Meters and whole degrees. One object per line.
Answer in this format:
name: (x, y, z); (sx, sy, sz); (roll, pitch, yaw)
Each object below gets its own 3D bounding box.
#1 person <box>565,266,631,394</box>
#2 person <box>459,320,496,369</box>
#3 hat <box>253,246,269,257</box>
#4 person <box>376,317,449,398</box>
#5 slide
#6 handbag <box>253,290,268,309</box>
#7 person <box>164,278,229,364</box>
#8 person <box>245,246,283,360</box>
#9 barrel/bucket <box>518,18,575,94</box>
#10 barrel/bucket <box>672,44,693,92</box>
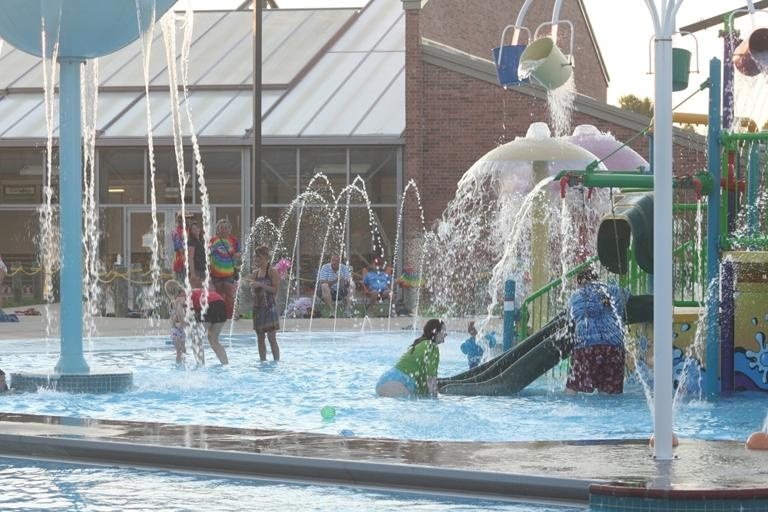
person: (3.266, 1.277, 22.174); (0.907, 2.286, 0.722); (-4, 20, -1)
person: (1.620, 1.803, 24.609); (0.601, 1.450, 0.410); (0, 29, 11)
hat: (-2.037, -0.096, 23.928); (0.225, 0.162, 0.210); (-1, -2, -5)
person: (0.444, 1.975, 21.758); (0.975, 2.069, 0.671); (6, -9, -12)
slide: (2.663, 1.485, 23.011); (3.221, 1.366, 0.610); (-14, 10, 15)
handbag: (-2.032, 0.700, 23.805); (0.237, 0.350, 0.329); (-1, -2, -6)
person: (-3.092, 1.113, 23.704); (0.912, 1.360, 1.082); (-1, -2, -9)
person: (-2.075, 0.912, 24.041); (0.566, 2.158, 0.668); (13, 17, 41)
barrel/bucket: (2.447, -3.170, 21.850); (0.864, 1.102, 0.984); (-1, -2, 6)
barrel/bucket: (4.447, -2.854, 21.536); (0.240, 0.622, 1.121); (-1, -2, 10)
